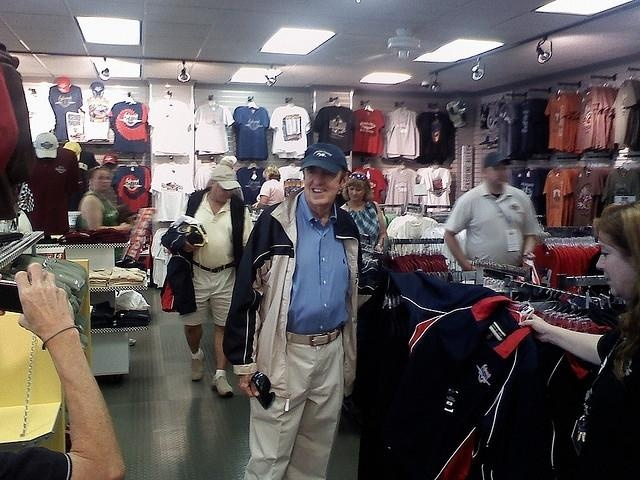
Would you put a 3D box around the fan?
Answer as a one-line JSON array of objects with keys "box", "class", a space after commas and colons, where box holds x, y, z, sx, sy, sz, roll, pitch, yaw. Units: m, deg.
[{"box": [0.993, -2.854, 6.912, 1.319, 0.386, 2.180, 1, 7, 4], "class": "fan"}]

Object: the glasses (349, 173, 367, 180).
[{"box": [0.417, -0.704, 4.821, 0.193, 0.092, 0.230, 0, 3, -2], "class": "glasses"}]

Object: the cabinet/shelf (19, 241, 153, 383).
[{"box": [-2.156, 0.761, 4.527, 1.123, 1.585, 1.723, 1, 2, 2], "class": "cabinet/shelf"}]

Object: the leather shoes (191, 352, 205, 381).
[{"box": [-1.275, 1.308, 4.551, 0.111, 0.125, 0.314, -2, 38, -3], "class": "leather shoes"}]

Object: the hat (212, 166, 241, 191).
[{"box": [-0.895, -0.577, 4.025, 0.265, 0.148, 0.190, 25, 17, 33], "class": "hat"}]

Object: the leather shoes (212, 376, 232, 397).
[{"box": [-0.955, 1.428, 4.213, 0.101, 0.147, 0.333, 5, -15, -23], "class": "leather shoes"}]

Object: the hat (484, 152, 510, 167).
[{"box": [1.575, -0.749, 3.962, 0.141, 0.107, 0.202, -4, 10, -11], "class": "hat"}]

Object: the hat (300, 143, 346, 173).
[{"box": [0.023, -0.435, 2.294, 0.234, 0.167, 0.214, 1, 7, 0], "class": "hat"}]

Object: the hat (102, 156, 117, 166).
[{"box": [-3.820, -1.415, 7.702, 0.233, 0.192, 0.384, 1, 9, -11], "class": "hat"}]

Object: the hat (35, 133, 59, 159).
[{"box": [-3.190, -1.099, 5.038, 0.213, 0.299, 0.284, -3, 8, -32], "class": "hat"}]
